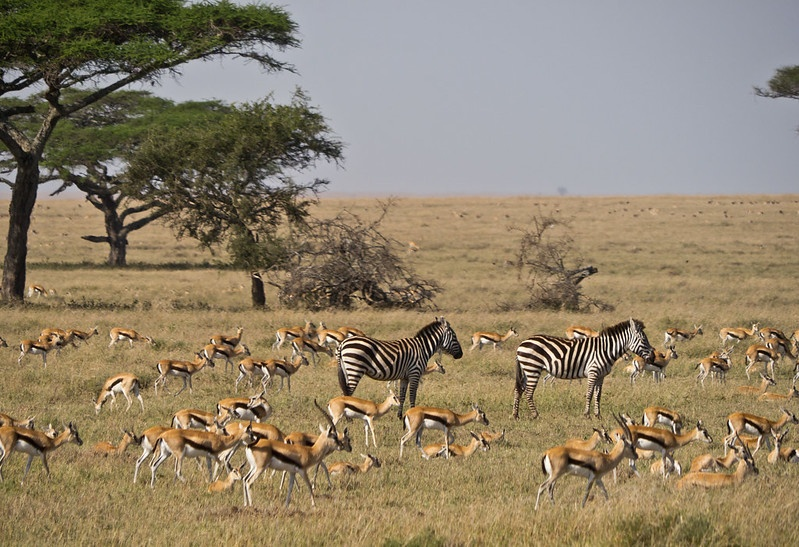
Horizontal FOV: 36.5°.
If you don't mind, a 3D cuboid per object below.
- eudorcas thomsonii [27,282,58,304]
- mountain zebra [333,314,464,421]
[{"bbox_3d":[-16.228,0.920,54.990,1.390,0.793,0.340,12,14,-10],"label":"eudorcas thomsonii"},{"bbox_3d":[0.053,3.218,40.596,4.389,3.342,1.277,-2,6,-14],"label":"mountain zebra"}]
